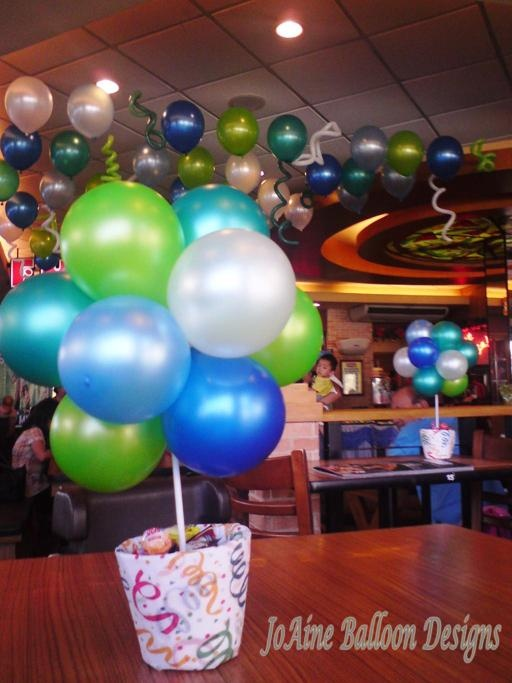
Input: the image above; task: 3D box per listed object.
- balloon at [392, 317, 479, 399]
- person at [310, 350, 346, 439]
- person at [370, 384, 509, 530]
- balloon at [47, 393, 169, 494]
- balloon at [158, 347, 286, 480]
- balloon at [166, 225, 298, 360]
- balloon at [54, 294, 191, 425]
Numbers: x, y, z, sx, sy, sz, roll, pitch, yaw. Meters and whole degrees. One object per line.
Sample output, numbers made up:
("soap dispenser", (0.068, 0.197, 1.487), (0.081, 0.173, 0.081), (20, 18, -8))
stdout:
("balloon", (1.046, 0.096, 3.025), (0.471, 0.452, 0.334), (0, -6, 10))
("person", (0.743, 0.537, 5.146), (0.400, 0.903, 0.394), (0, 31, 23))
("person", (1.239, 0.866, 3.429), (0.587, 0.729, 0.564), (-7, -16, -19))
("balloon", (-0.192, 0.143, 0.760), (0.148, 0.154, 0.138), (5, 18, 10))
("balloon", (-0.039, 0.101, 0.701), (0.165, 0.180, 0.155), (10, 34, -2))
("balloon", (-0.028, -0.056, 0.612), (0.149, 0.146, 0.095), (2, -6, -9))
("balloon", (-0.147, 0.025, 0.602), (0.115, 0.153, 0.122), (-2, -6, 26))
